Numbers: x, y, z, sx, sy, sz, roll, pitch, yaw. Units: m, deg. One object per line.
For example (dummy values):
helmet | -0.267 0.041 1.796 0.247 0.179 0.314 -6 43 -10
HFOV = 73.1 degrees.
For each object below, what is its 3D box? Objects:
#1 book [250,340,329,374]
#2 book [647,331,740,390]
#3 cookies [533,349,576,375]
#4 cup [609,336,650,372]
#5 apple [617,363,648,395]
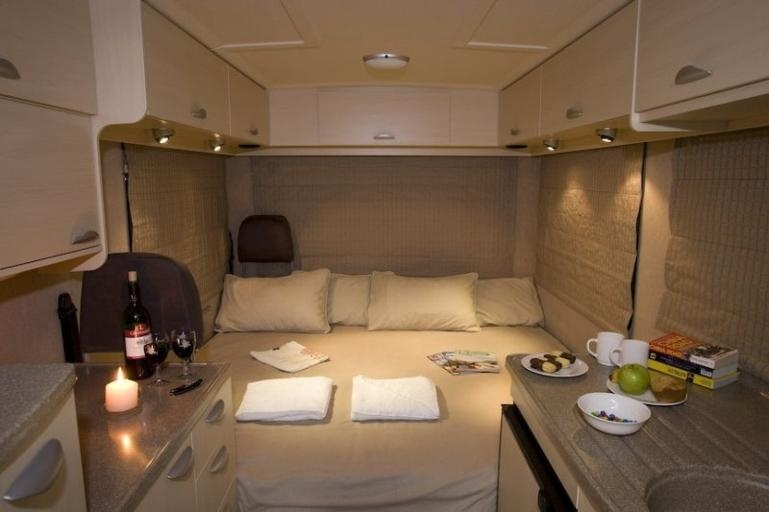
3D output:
book | -0.569 0.603 3.084 0.205 0.030 0.218 14 16 34
book | 1.216 0.399 2.063 0.220 0.074 0.220 -10 14 -40
cookies | 0.683 0.427 2.170 0.110 0.028 0.098 -7 12 -32
cup | 0.993 0.393 2.088 0.161 0.108 0.099 -7 8 -20
apple | 0.916 0.452 1.911 0.109 0.102 0.107 -5 -10 19
